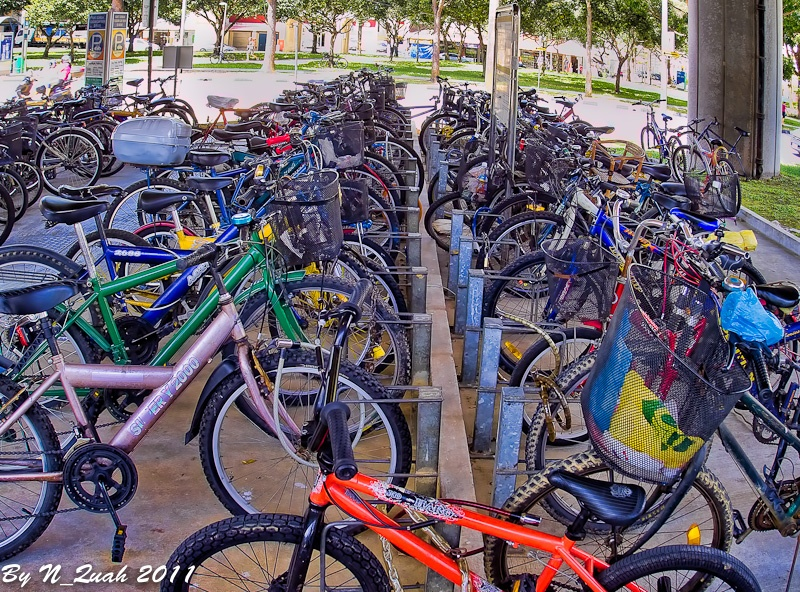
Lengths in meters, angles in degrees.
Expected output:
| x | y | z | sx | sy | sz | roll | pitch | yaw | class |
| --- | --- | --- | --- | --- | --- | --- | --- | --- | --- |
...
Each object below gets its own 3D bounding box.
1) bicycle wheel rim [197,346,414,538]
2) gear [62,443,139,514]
| x | y | z | sx | sy | sz | roll | pitch | yaw | class |
| --- | --- | --- | --- | --- | --- | --- | --- | --- | --- |
| -0.433 | 0.648 | 2.843 | 0.925 | 0.947 | 0.132 | 2 | 12 | 3 | bicycle wheel rim |
| -1.317 | 0.768 | 2.928 | 0.322 | 0.328 | 0.094 | 2 | 9 | -12 | gear |
